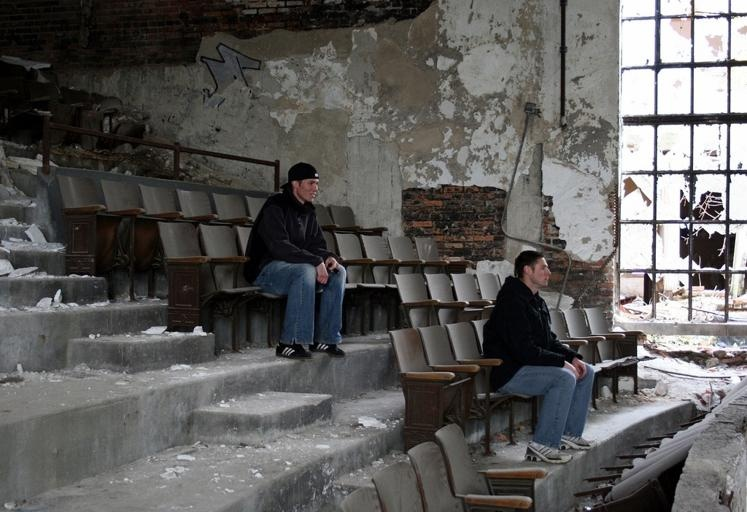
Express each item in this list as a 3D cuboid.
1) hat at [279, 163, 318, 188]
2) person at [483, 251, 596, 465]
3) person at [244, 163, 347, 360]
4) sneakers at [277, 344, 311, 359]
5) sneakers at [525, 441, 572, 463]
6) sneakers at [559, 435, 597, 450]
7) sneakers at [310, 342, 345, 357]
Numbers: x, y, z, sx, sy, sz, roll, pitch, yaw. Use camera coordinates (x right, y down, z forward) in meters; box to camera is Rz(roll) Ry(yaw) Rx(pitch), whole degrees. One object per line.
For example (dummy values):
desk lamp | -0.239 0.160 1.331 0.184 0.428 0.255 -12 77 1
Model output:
hat | -0.661 -0.725 7.715 0.278 0.166 0.205 -21 -1 12
person | 1.408 0.839 7.363 0.922 1.720 0.933 0 1 2
person | -0.646 0.024 7.653 0.768 1.689 0.824 0 1 -44
sneakers | -0.668 0.808 7.276 0.255 0.120 0.125 0 -2 10
sneakers | 1.413 1.625 7.116 0.373 0.200 0.156 2 -2 3
sneakers | 1.699 1.597 7.361 0.319 0.162 0.129 1 -6 -3
sneakers | -0.397 0.814 7.468 0.338 0.168 0.122 7 -3 0
